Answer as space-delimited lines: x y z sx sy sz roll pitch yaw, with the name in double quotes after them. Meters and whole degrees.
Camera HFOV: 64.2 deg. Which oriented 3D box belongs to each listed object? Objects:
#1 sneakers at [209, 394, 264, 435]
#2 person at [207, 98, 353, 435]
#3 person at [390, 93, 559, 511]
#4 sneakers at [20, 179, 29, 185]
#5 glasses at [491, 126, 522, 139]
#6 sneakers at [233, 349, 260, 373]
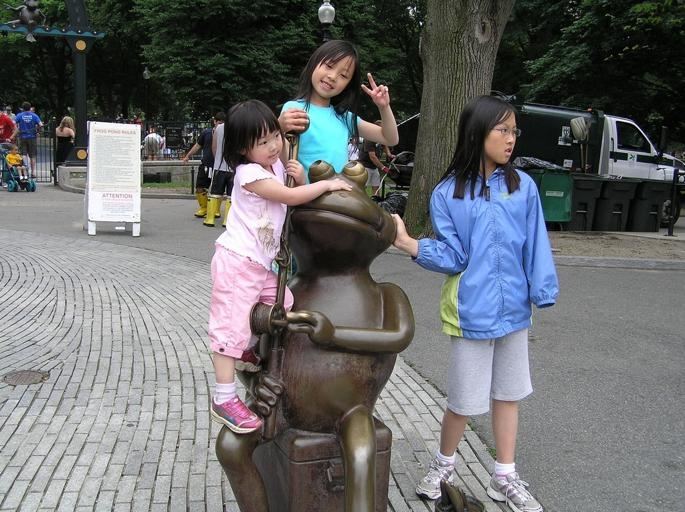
-0.416 0.630 2.204 0.226 0.117 0.110 27 22 18 "sneakers"
-0.329 0.028 2.246 0.442 1.295 0.393 -3 11 -25 "person"
0.732 0.272 2.828 0.735 2.141 0.448 3 10 7 "person"
-9.987 -2.307 17.062 0.176 0.152 0.128 -1 11 -15 "sneakers"
0.885 -0.655 2.921 0.100 0.044 0.454 7 12 22 "glasses"
-0.394 0.445 2.342 0.054 0.105 0.138 11 4 39 "sneakers"
